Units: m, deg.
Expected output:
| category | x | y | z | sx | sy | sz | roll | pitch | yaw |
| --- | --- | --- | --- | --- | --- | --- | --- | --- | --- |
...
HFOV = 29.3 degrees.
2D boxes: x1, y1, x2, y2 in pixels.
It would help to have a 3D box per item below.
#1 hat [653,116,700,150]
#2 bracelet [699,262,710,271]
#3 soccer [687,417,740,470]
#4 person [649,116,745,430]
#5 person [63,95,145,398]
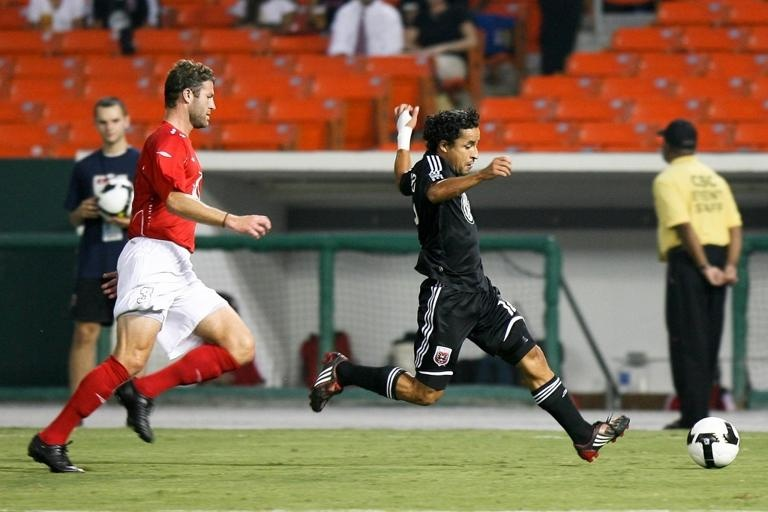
| category | x | y | z | sx | sy | sz | roll | pitch | yaw |
| --- | --- | --- | --- | --- | --- | --- | --- | --- | --- |
| hat | 2.899 | -1.187 | 14.398 | 0.260 | 0.172 | 0.349 | -6 | 29 | -14 |
| bracelet | 3.108 | 0.109 | 14.187 | 0.078 | 0.018 | 0.080 | -24 | 22 | -30 |
| soccer | 2.970 | 1.685 | 13.182 | 0.537 | 0.459 | 0.484 | -5 | 9 | 0 |
| person | 3.116 | 0.210 | 14.424 | 0.754 | 3.031 | 0.617 | -6 | 11 | -14 |
| person | -2.692 | 0.040 | 14.843 | 1.056 | 3.186 | 0.964 | -2 | 21 | -14 |
